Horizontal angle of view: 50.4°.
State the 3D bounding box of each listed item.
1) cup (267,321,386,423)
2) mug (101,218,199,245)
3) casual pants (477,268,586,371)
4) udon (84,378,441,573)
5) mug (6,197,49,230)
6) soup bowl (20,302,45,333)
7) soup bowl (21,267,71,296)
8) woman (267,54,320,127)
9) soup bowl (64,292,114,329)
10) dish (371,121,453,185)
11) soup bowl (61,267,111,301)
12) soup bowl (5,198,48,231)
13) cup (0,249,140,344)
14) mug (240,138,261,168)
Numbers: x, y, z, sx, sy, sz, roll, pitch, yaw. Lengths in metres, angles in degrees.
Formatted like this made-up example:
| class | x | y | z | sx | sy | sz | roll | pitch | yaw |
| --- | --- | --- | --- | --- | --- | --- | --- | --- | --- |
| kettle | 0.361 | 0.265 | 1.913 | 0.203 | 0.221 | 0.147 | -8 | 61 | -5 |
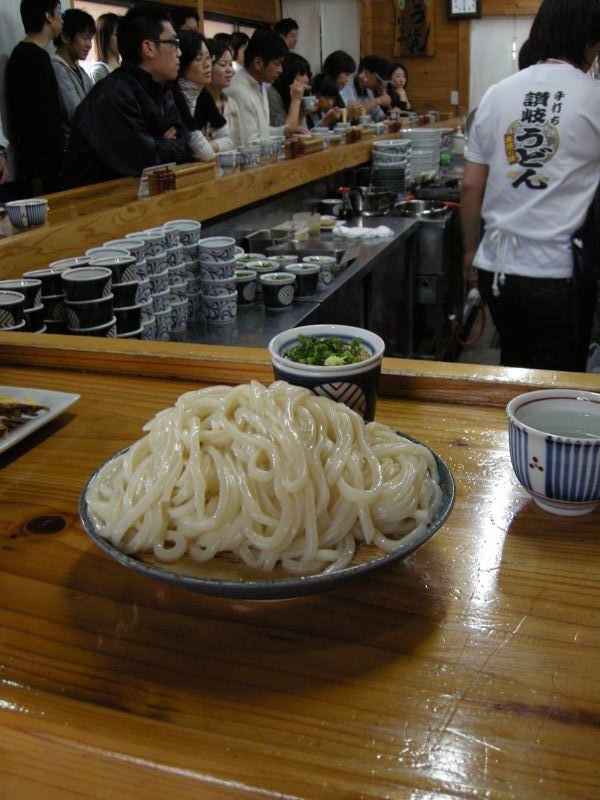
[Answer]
| class | x | y | z | sx | sy | sz | roll | pitch | yaw |
| --- | --- | --- | --- | --- | --- | --- | --- | --- | --- |
| cup | 0.042 | -0.057 | 0.897 | 0.147 | 0.115 | 0.140 | -2 | 22 | 1 |
| mug | -0.497 | -0.552 | 2.085 | 0.150 | 0.058 | 0.137 | -25 | 28 | -39 |
| casual pants | 1.054 | -0.350 | 2.871 | 0.227 | 0.416 | 0.288 | -7 | -2 | -26 |
| udon | -0.025 | 0.080 | 0.628 | 0.265 | 0.094 | 0.196 | 2 | 31 | 1 |
| mug | -0.843 | -0.580 | 1.973 | 0.100 | 0.072 | 0.128 | -5 | 15 | -11 |
| soup bowl | -0.640 | -0.203 | 1.542 | 0.058 | 0.068 | 0.063 | 1 | 18 | 0 |
| soup bowl | -0.639 | -0.305 | 1.605 | 0.075 | 0.048 | 0.072 | -1 | 18 | 0 |
| woman | -0.106 | -2.985 | 6.562 | 0.571 | 1.024 | 0.529 | -2 | 14 | -1 |
| soup bowl | -0.521 | -0.217 | 1.560 | 0.091 | 0.073 | 0.099 | -3 | 17 | 1 |
| dish | 0.910 | -2.141 | 5.349 | 0.605 | 0.309 | 0.800 | -1 | 23 | 6 |
| soup bowl | -0.513 | -0.298 | 1.528 | 0.094 | 0.059 | 0.096 | 0 | 21 | 0 |
| soup bowl | -0.853 | -0.580 | 1.979 | 0.104 | 0.080 | 0.135 | -9 | 17 | -19 |
| cup | -0.580 | -0.261 | 1.659 | 0.259 | 0.203 | 0.238 | -2 | 18 | 1 |
| mug | -0.258 | -1.268 | 3.267 | 0.136 | 0.134 | 0.125 | -3 | 25 | -8 |
